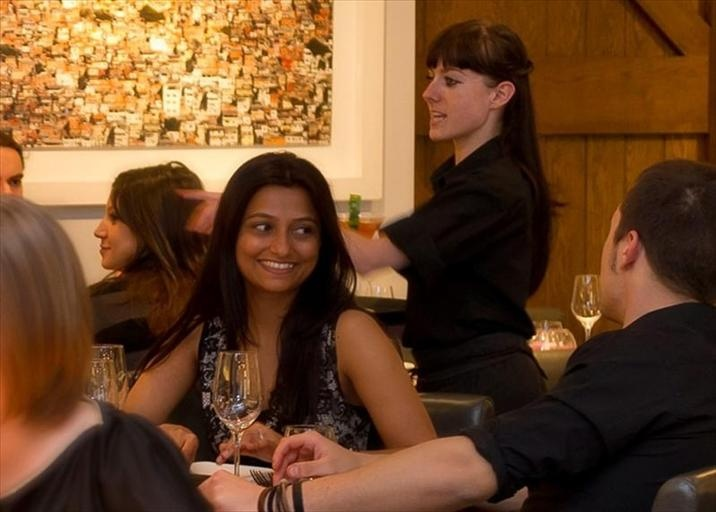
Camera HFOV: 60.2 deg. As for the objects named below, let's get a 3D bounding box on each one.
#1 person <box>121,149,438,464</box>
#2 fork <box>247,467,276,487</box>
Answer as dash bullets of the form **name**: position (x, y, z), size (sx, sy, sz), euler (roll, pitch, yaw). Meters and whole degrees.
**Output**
- **person**: position (-0.184, 0.189, 1.924), size (1.134, 1.031, 0.740), euler (-1, -3, 2)
- **fork**: position (-0.197, 0.437, 1.207), size (0.021, 0.007, 0.044), euler (16, 10, 32)
